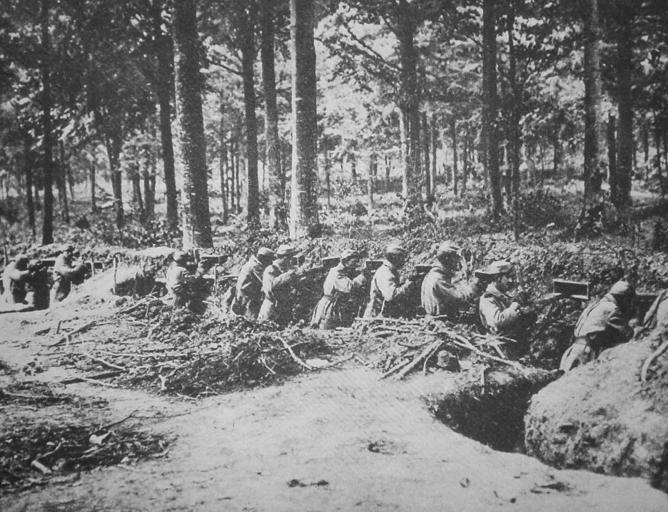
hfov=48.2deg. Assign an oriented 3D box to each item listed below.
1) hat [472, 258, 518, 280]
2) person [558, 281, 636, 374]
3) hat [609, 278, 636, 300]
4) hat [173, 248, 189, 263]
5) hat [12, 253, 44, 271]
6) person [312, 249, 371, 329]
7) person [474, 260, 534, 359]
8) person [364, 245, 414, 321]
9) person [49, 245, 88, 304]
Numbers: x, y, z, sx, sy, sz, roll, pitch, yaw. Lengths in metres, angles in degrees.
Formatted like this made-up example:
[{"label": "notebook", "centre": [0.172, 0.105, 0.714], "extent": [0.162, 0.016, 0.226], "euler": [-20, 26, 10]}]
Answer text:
[{"label": "hat", "centre": [1.896, 0.170, 8.747], "extent": [0.288, 0.182, 0.224], "euler": [-20, 1, 24]}, {"label": "person", "centre": [2.915, 0.842, 8.230], "extent": [0.411, 1.226, 0.335], "euler": [34, 9, 34]}, {"label": "hat", "centre": [3.156, 0.376, 8.167], "extent": [0.154, 0.234, 0.242], "euler": [6, 7, 6]}, {"label": "hat", "centre": [-2.268, 0.006, 11.066], "extent": [0.176, 0.157, 0.162], "euler": [4, -4, -28]}, {"label": "hat", "centre": [-4.764, 0.118, 11.644], "extent": [0.470, 0.243, 0.075], "euler": [-2, 3, 7]}, {"label": "person", "centre": [0.096, 0.468, 9.799], "extent": [0.865, 1.010, 0.231], "euler": [0, 3, 33]}, {"label": "person", "centre": [1.971, 0.627, 8.598], "extent": [0.186, 1.090, 0.661], "euler": [-5, 4, -45]}, {"label": "person", "centre": [0.721, 0.339, 9.428], "extent": [0.718, 0.889, 0.207], "euler": [0, 3, 31]}, {"label": "person", "centre": [-4.112, 0.280, 11.562], "extent": [0.571, 0.835, 0.180], "euler": [-1, 3, 15]}]
